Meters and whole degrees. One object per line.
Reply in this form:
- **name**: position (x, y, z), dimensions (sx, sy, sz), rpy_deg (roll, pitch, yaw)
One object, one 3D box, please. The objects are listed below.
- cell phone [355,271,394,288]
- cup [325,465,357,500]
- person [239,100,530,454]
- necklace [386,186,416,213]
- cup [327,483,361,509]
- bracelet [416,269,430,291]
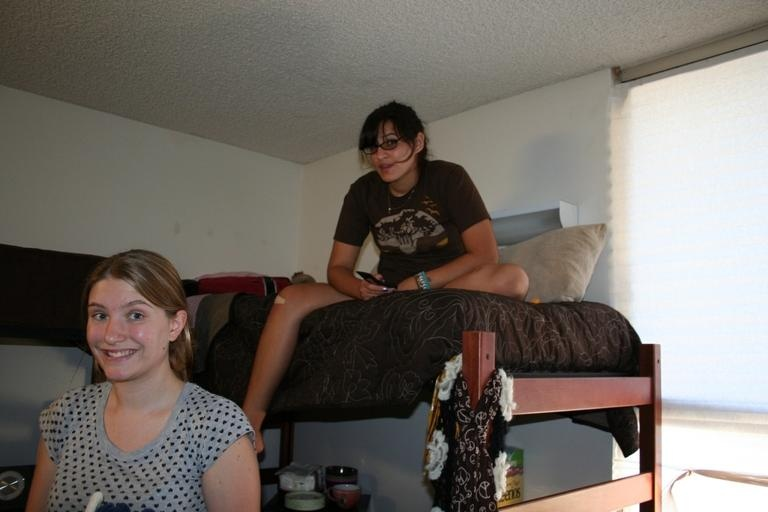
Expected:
- **cell phone**: position (-0.031, 0.111, 2.711), dimensions (0.096, 0.022, 0.212), rpy_deg (13, 7, -33)
- **cup**: position (-0.197, 1.094, 2.865), dimensions (0.117, 0.087, 0.100), rpy_deg (3, -6, -26)
- **person**: position (-0.057, 0.008, 2.671), dimensions (1.311, 1.620, 1.088), rpy_deg (1, -5, -20)
- **necklace**: position (0.071, -0.263, 2.869), dimensions (0.105, 0.160, 0.055), rpy_deg (7, -10, 21)
- **cup**: position (-0.178, 1.135, 2.789), dimensions (0.158, 0.099, 0.111), rpy_deg (0, -4, -9)
- **bracelet**: position (0.178, 0.109, 2.595), dimensions (0.049, 0.073, 0.022), rpy_deg (-10, -11, -20)
